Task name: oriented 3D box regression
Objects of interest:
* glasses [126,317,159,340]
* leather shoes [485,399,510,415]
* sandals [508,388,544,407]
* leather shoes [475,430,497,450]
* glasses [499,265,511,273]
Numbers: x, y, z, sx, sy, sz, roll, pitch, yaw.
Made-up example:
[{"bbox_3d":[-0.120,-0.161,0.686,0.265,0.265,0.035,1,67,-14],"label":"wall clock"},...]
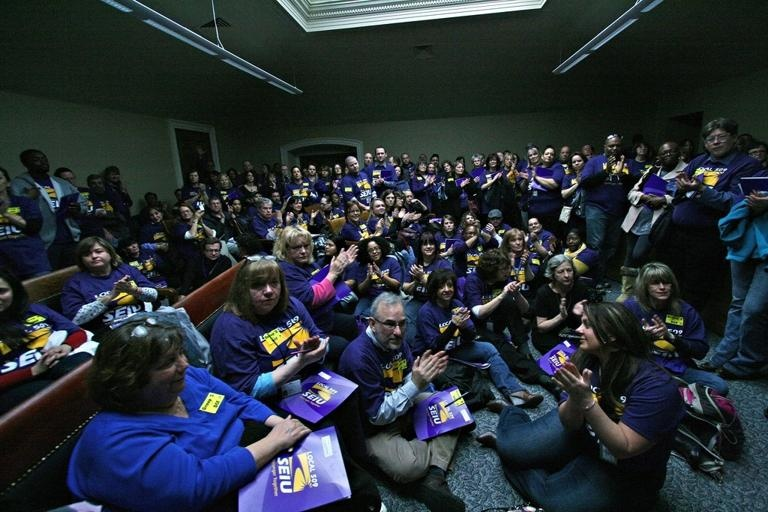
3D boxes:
[{"bbox_3d":[-1.743,0.515,3.604,0.168,0.165,0.050,2,35,-18],"label":"glasses"},{"bbox_3d":[1.089,1.443,4.734,0.263,0.106,0.087,-4,47,40],"label":"leather shoes"},{"bbox_3d":[1.393,1.397,4.810,0.399,0.130,0.153,-4,29,11],"label":"sandals"},{"bbox_3d":[0.948,1.666,4.462,0.149,0.062,0.142,-11,39,-9],"label":"leather shoes"},{"bbox_3d":[1.358,0.151,5.465,0.095,0.074,0.098,18,12,3],"label":"glasses"}]
